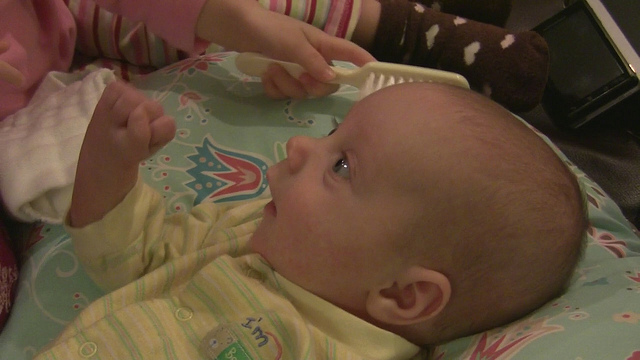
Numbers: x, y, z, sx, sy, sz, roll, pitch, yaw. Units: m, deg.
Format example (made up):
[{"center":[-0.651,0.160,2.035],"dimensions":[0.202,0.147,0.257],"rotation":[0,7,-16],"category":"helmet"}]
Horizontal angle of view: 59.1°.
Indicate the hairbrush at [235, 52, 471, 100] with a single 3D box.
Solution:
[{"center":[0.102,-0.324,1.783],"dimensions":[0.758,0.116,0.088],"rotation":[6,94,-1],"category":"hairbrush"}]
